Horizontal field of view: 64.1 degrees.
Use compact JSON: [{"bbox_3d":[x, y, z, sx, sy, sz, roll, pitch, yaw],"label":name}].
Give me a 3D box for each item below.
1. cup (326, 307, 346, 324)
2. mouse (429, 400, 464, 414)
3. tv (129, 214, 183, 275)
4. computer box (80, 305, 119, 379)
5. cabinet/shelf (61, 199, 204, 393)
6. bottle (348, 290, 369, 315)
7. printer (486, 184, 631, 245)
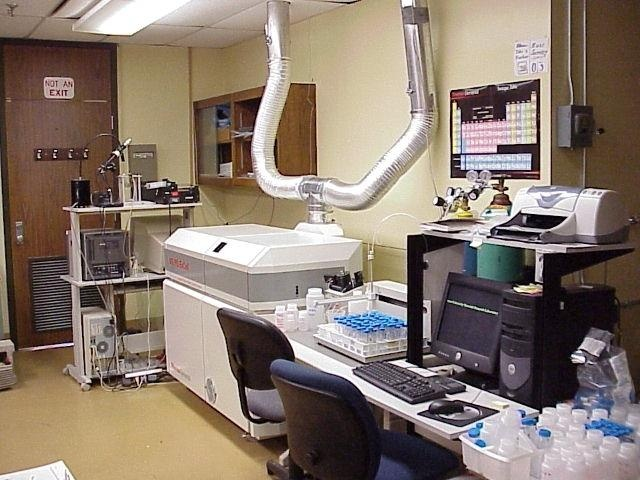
[{"bbox_3d":[0.096,0.427,2.945,0.095,0.074,0.098,0,13,0],"label":"cup"},{"bbox_3d":[0.489,0.647,1.972,0.100,0.035,0.060,-4,10,-13],"label":"mouse"},{"bbox_3d":[-1.471,0.030,4.572,0.468,0.485,0.487,-9,25,-32],"label":"tv"},{"bbox_3d":[-1.887,0.880,4.359,0.248,0.550,0.313,-4,9,-26],"label":"computer box"},{"bbox_3d":[-1.593,0.492,4.320,1.333,1.732,0.979,-5,13,-29],"label":"cabinet/shelf"},{"bbox_3d":[0.218,0.368,2.984,0.094,0.100,0.098,0,7,6],"label":"bottle"},{"bbox_3d":[1.004,-0.096,2.036,0.340,0.174,0.334,-8,11,-41],"label":"printer"}]
